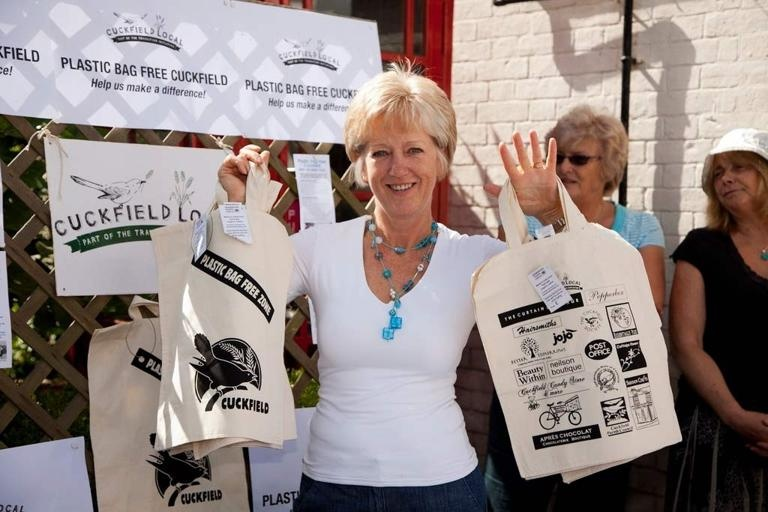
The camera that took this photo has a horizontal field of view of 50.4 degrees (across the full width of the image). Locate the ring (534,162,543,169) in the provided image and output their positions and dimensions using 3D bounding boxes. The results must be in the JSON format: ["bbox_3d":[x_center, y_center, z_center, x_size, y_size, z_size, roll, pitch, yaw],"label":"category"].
[{"bbox_3d":[0.555,-0.325,2.930,0.018,0.015,0.026,-3,-8,12],"label":"ring"}]

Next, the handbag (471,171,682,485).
[{"bbox_3d":[0.665,0.313,2.755,0.666,1.121,0.278,-14,1,6],"label":"handbag"}]

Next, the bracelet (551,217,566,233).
[{"bbox_3d":[0.634,-0.113,2.952,0.043,0.027,0.059,-38,6,-1],"label":"bracelet"}]
